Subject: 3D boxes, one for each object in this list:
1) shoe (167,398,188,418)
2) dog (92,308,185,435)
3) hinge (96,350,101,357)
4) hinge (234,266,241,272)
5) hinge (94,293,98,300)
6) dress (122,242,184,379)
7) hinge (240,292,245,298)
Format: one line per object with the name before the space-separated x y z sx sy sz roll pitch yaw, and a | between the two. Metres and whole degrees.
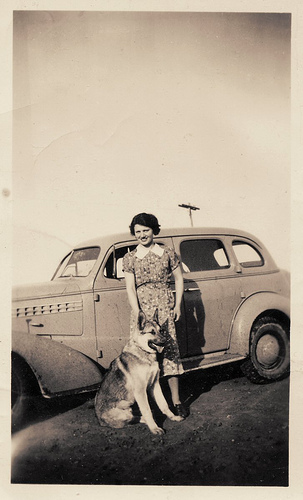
shoe | 0.184 1.239 3.396 0.180 0.082 0.107 -2 4 44
dog | -0.135 1.005 3.583 0.873 1.209 0.502 -2 -6 30
hinge | -0.412 0.804 3.396 0.011 0.044 0.039 -4 -2 22
hinge | 0.806 0.176 4.067 0.046 0.051 0.043 3 -20 -10
hinge | -0.440 0.369 3.440 0.031 0.054 0.031 -2 -3 7
dress | 0.031 0.454 3.365 0.453 1.027 0.223 -5 3 -8
hinge | 0.832 0.408 3.968 0.031 0.049 0.011 2 -6 -9
